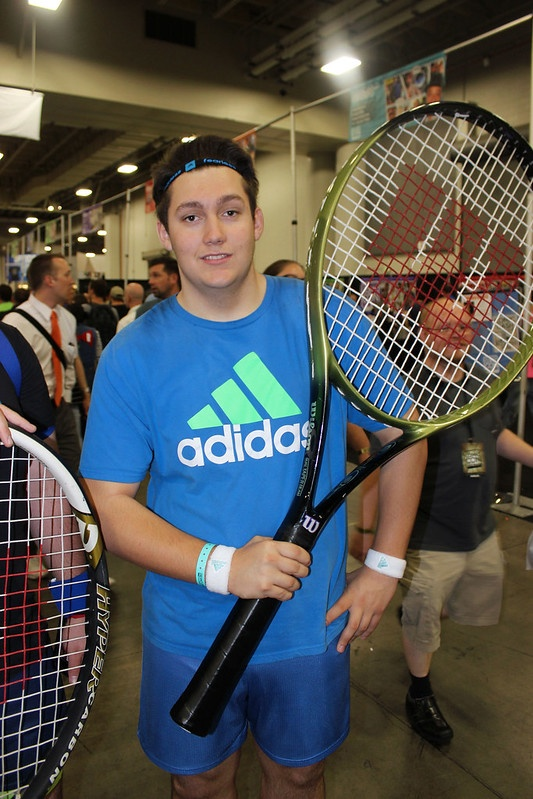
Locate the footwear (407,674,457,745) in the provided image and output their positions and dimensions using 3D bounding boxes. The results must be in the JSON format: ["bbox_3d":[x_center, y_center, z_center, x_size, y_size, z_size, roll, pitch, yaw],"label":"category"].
[{"bbox_3d":[0.596,1.130,2.278,0.087,0.104,0.261,-9,14,-4],"label":"footwear"}]

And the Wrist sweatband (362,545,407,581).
[{"bbox_3d":[0.223,0.306,1.188,0.058,0.062,0.059,22,-11,-6],"label":"Wrist sweatband"}]

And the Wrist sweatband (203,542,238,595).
[{"bbox_3d":[-0.080,0.288,1.044,0.028,0.073,0.061,7,-2,-16],"label":"Wrist sweatband"}]

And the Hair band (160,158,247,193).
[{"bbox_3d":[-0.125,-0.411,1.131,0.140,0.047,0.057,-1,6,1],"label":"Hair band"}]
